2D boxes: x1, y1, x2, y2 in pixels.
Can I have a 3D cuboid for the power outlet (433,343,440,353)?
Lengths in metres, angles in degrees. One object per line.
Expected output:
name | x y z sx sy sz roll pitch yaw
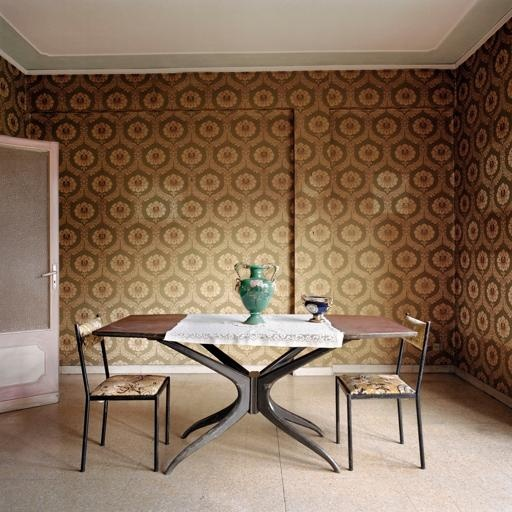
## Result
power outlet | 1.669 0.852 4.571 0.079 0.069 0.077 -2 -4 11

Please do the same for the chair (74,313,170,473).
chair | -0.792 0.835 3.010 0.594 0.763 0.547 2 0 14

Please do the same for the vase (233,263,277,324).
vase | -0.010 0.236 3.076 0.298 0.348 0.240 2 -3 -5

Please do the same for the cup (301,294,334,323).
cup | 0.399 0.329 3.114 0.225 0.161 0.169 2 -4 -7

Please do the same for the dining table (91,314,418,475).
dining table | -0.077 1.060 3.136 1.942 0.807 0.904 0 -4 0
